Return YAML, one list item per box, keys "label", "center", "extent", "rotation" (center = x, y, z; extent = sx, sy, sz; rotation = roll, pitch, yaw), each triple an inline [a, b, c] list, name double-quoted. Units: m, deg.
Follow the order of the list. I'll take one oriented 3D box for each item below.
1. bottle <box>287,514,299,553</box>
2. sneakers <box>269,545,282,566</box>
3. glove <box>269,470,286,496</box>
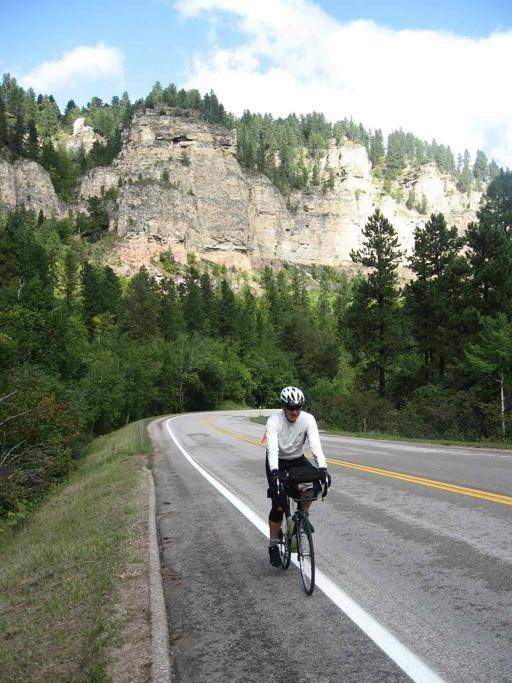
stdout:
- label: "bottle"
  center: [0.355, 1.932, 6.165]
  extent: [0.176, 0.200, 0.300]
  rotation: [0, 1, 3]
- label: "sneakers"
  center: [0.183, 2.202, 6.288]
  extent: [0.086, 0.251, 0.170]
  rotation: [-5, -42, -2]
- label: "glove"
  center: [0.196, 1.365, 5.868]
  extent: [0.098, 0.241, 0.177]
  rotation: [-2, -21, 8]
